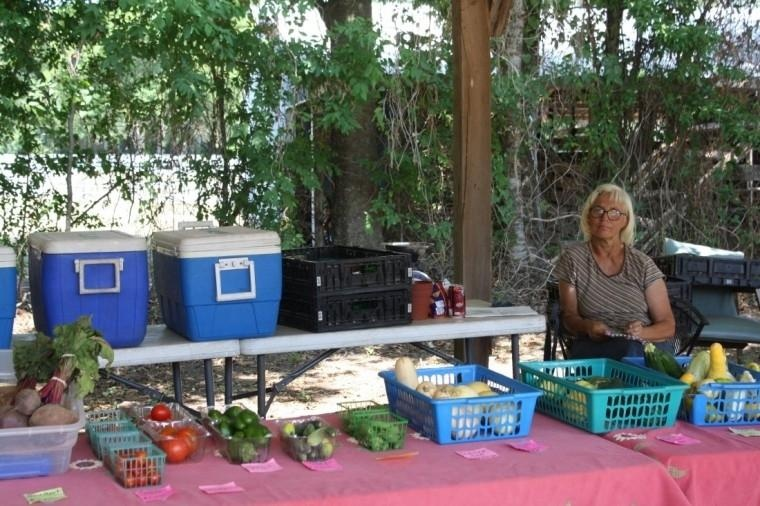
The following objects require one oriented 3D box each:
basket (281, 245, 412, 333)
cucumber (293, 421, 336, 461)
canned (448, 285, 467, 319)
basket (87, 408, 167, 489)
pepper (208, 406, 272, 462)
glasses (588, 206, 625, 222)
[{"bbox_3d":[-0.257,0.227,4.774,0.745,0.538,0.748,0,1,-31],"label":"basket"},{"bbox_3d":[-0.281,0.817,3.121,0.141,0.072,0.192,0,-2,-10],"label":"cucumber"},{"bbox_3d":[0.511,0.315,4.899,0.143,0.204,0.137,6,13,35],"label":"canned"},{"bbox_3d":[-1.098,0.825,3.137,0.207,0.138,0.599,-10,17,-39],"label":"basket"},{"bbox_3d":[-0.633,0.772,3.206,0.333,0.195,0.311,-3,9,-27],"label":"pepper"},{"bbox_3d":[1.563,-0.272,4.986,0.227,0.087,0.075,5,14,15],"label":"glasses"}]
